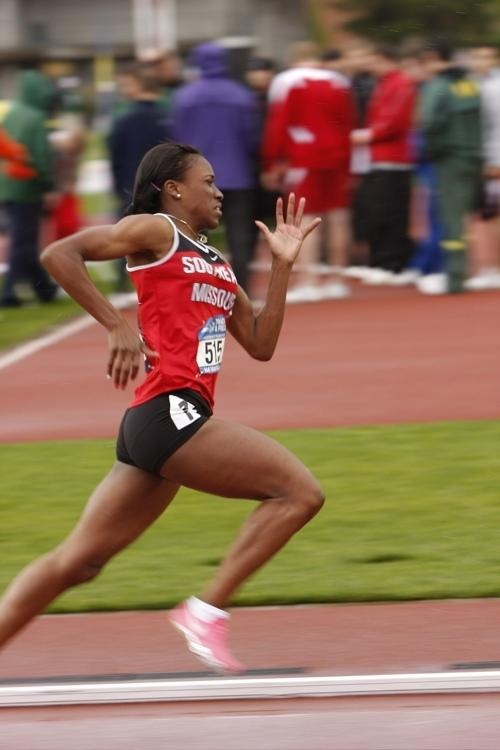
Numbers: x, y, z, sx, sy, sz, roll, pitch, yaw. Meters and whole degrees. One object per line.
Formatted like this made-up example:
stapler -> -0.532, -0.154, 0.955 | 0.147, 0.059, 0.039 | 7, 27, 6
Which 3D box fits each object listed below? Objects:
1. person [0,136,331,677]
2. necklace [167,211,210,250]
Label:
person -> -0.194, 0.087, 2.022 | 0.788, 1.295, 0.442 | -2, 2, -2
necklace -> -0.172, -0.346, 2.043 | 0.107, 0.042, 0.080 | 29, 8, 16
